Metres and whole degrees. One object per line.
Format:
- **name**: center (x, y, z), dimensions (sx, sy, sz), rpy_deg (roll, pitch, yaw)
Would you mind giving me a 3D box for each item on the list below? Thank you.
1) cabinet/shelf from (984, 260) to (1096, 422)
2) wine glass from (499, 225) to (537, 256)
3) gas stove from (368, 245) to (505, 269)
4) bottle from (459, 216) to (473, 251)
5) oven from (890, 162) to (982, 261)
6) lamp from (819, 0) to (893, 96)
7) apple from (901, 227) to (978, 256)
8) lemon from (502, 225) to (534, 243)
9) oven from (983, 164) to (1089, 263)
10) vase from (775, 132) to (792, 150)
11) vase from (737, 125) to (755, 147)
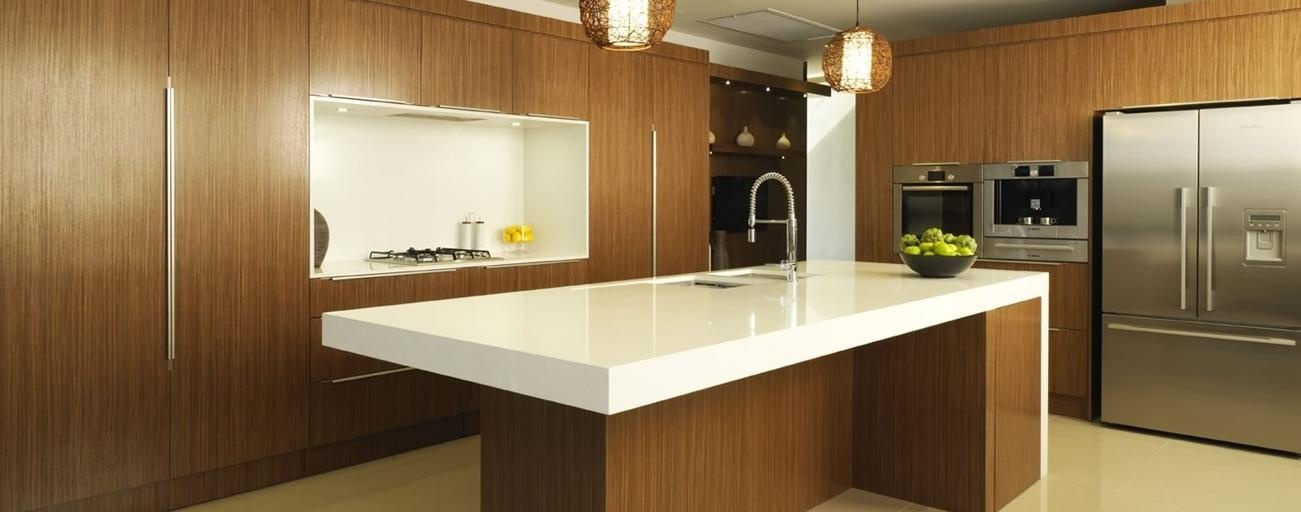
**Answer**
- **cabinet/shelf**: center (4.757, 0.985, 9.176), dimensions (0.859, 1.809, 0.317), rpy_deg (1, 10, 20)
- **wine glass**: center (-1.574, -0.197, 9.311), dimensions (0.426, 0.315, 0.412), rpy_deg (-2, -1, 33)
- **gas stove**: center (-2.409, -0.012, 8.642), dimensions (1.318, 0.126, 0.543), rpy_deg (-4, 9, -18)
- **bottle**: center (-2.128, -0.283, 9.077), dimensions (0.148, 0.361, 0.154), rpy_deg (-2, 9, 0)
- **oven**: center (3.834, -0.595, 9.964), dimensions (1.069, 1.145, 0.969), rpy_deg (2, 11, 32)
- **lamp**: center (2.078, -2.005, 7.830), dimensions (0.621, 0.649, 0.220), rpy_deg (-3, 10, -5)
- **apple**: center (2.904, -0.114, 7.851), dimensions (0.505, 0.199, 0.438), rpy_deg (-1, -1, 20)
- **lemon**: center (-1.565, -0.260, 9.284), dimensions (0.294, 0.158, 0.252), rpy_deg (-2, 2, -1)
- **oven**: center (4.622, -0.514, 9.201), dimensions (1.545, 1.196, 0.811), rpy_deg (0, 0, 29)
- **vase**: center (1.891, -1.631, 10.982), dimensions (0.269, 0.214, 0.263), rpy_deg (-2, -1, 36)
- **vase**: center (1.340, -1.662, 10.671), dimensions (0.165, 0.281, 0.386), rpy_deg (6, 11, 39)
